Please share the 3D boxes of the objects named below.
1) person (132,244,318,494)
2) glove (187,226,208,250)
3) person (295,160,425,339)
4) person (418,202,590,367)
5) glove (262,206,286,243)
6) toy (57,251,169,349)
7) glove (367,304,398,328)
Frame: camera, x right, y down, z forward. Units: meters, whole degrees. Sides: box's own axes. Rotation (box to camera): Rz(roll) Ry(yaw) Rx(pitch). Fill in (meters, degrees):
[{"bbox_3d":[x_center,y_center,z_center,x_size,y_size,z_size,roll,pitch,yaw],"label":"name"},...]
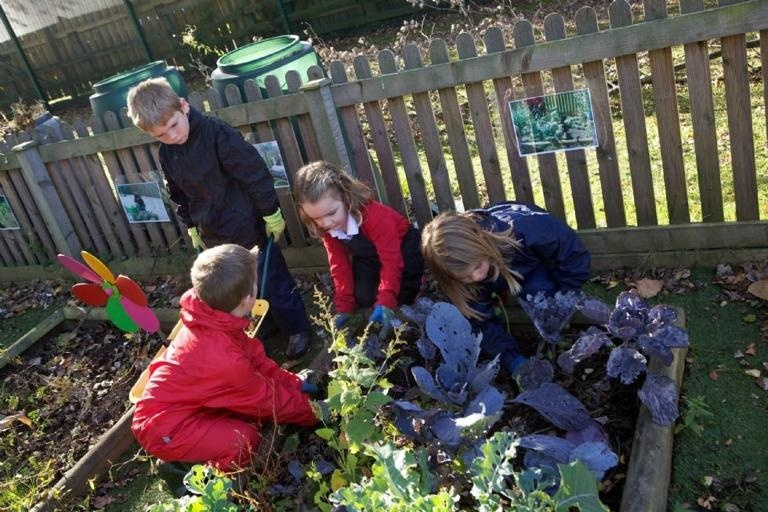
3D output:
[{"bbox_3d":[-0.992,0.698,3.418,0.825,1.463,1.094,10,15,38],"label":"person"},{"bbox_3d":[-1.459,-0.123,4.195,0.144,0.236,0.059,-8,4,-22],"label":"glove"},{"bbox_3d":[-0.142,-0.146,3.790,0.688,1.194,0.830,3,24,45],"label":"person"},{"bbox_3d":[0.753,0.091,3.234,0.898,0.862,0.538,-23,26,-26],"label":"person"},{"bbox_3d":[-0.764,-0.231,3.924,0.156,0.236,0.222,-11,-1,-17],"label":"glove"},{"bbox_3d":[-2.188,0.379,4.418,0.497,0.722,0.268,-46,8,48],"label":"toy"},{"bbox_3d":[-0.005,0.410,3.427,0.151,0.154,0.208,-9,23,6],"label":"glove"}]
